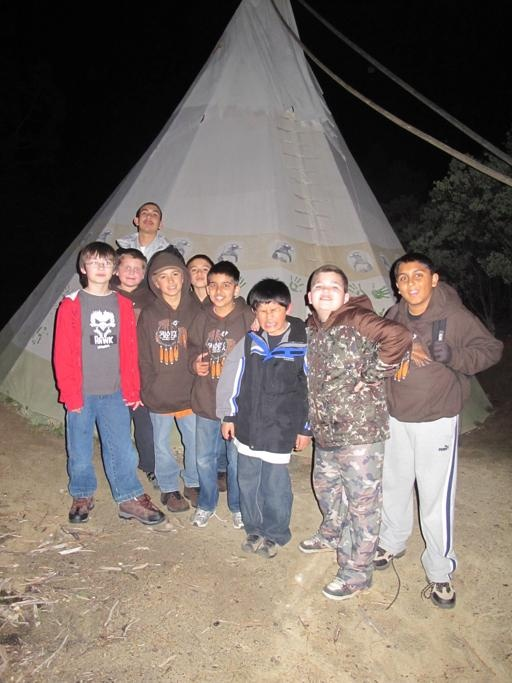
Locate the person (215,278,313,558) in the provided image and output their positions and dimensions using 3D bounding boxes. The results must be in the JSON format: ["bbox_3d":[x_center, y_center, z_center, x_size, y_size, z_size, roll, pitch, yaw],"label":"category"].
[{"bbox_3d":[0.034,0.430,3.114,0.536,1.567,0.307,4,9,-1],"label":"person"}]

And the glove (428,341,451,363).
[{"bbox_3d":[0.911,0.050,2.715,0.115,0.109,0.071,8,10,28],"label":"glove"}]

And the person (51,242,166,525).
[{"bbox_3d":[-0.913,0.264,3.371,0.628,1.733,0.383,1,9,-16],"label":"person"}]

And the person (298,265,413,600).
[{"bbox_3d":[0.489,0.444,2.872,0.441,1.662,0.569,1,9,-17],"label":"person"}]
